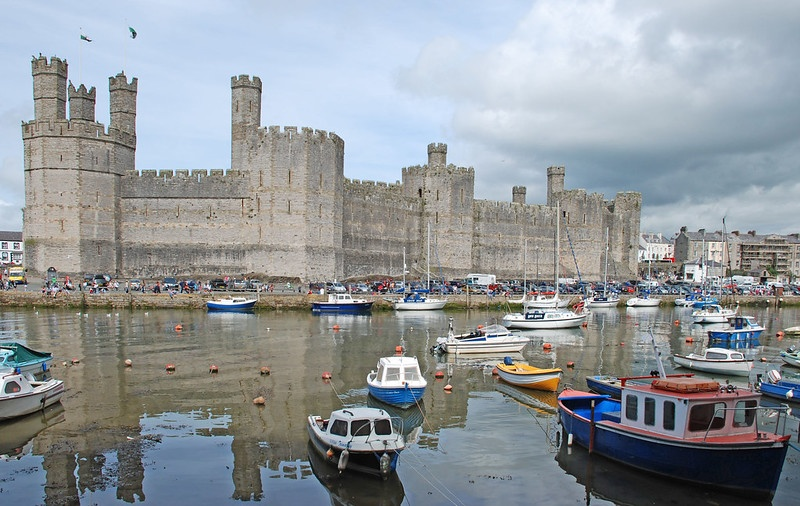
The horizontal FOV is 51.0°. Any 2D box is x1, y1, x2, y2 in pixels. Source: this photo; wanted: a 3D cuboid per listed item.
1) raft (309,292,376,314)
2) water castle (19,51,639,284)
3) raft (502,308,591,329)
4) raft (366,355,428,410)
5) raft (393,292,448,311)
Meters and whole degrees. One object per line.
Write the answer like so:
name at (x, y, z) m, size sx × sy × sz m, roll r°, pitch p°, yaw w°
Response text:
raft at (-4.713, 4.172, 68.099) m, size 4.397 × 1.338 × 1.925 m, roll -1°, pitch 1°, yaw -14°
water castle at (-4.478, -5.423, 88.499) m, size 65.454 × 20.636 × 17.200 m, roll 5°, pitch -11°, yaw -25°
raft at (10.671, 4.954, 62.043) m, size 6.708 × 1.443 × 2.088 m, roll -1°, pitch 0°, yaw -2°
raft at (-0.155, 6.776, 44.084) m, size 2.910 × 2.564 × 1.352 m, roll -1°, pitch -2°, yaw 1°
raft at (1.541, 4.075, 70.511) m, size 4.229 × 1.482 × 2.055 m, roll 0°, pitch -2°, yaw -2°
